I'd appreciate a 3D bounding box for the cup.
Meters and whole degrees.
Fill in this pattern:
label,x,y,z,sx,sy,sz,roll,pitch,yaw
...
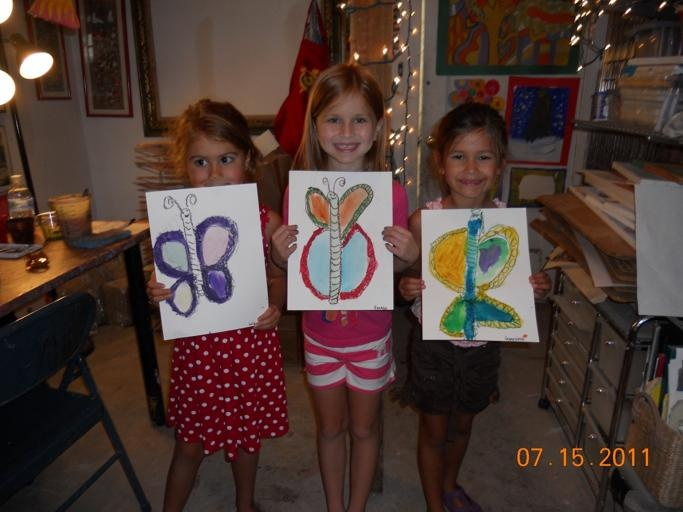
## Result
label,x,y,z,sx,sy,sz,roll,pitch,yaw
cup,-1.321,-0.254,2.424,0.462,0.358,0.212,-2,22,-10

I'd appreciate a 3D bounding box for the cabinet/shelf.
label,x,y,z,sx,sy,sz,roll,pitch,yaw
cabinet/shelf,1.132,0.583,2.126,0.329,0.857,0.750,6,29,5
